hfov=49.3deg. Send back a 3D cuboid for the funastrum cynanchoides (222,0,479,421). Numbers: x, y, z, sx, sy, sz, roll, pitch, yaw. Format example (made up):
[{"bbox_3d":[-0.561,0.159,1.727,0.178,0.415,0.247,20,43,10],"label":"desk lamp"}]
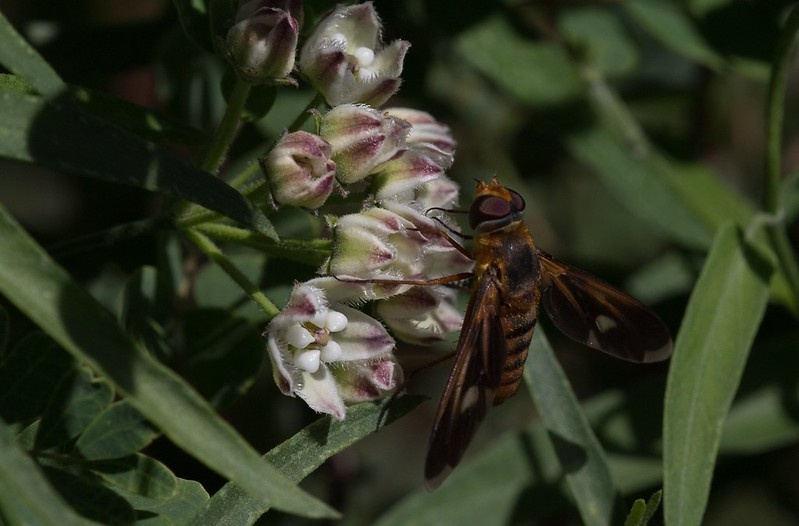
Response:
[{"bbox_3d":[-0.114,-0.186,2.782,0.765,1.008,0.292,-5,-3,-32],"label":"funastrum cynanchoides"}]
